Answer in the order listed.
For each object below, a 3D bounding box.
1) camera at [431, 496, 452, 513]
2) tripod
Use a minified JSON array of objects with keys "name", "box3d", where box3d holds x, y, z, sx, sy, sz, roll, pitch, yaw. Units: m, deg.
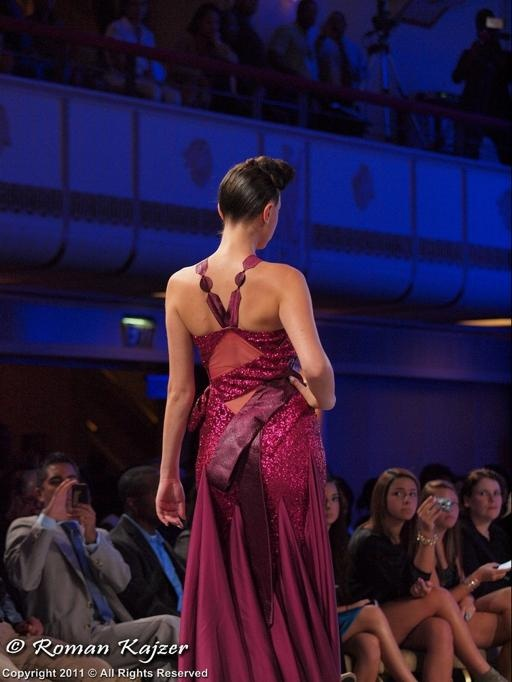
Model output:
[{"name":"camera","box3d":[0.685,0.608,2.897,0.066,0.029,0.047,29,6,7]},{"name":"tripod","box3d":[0.531,-0.909,2.923,0.297,0.325,0.043,7,-11,-28]}]
